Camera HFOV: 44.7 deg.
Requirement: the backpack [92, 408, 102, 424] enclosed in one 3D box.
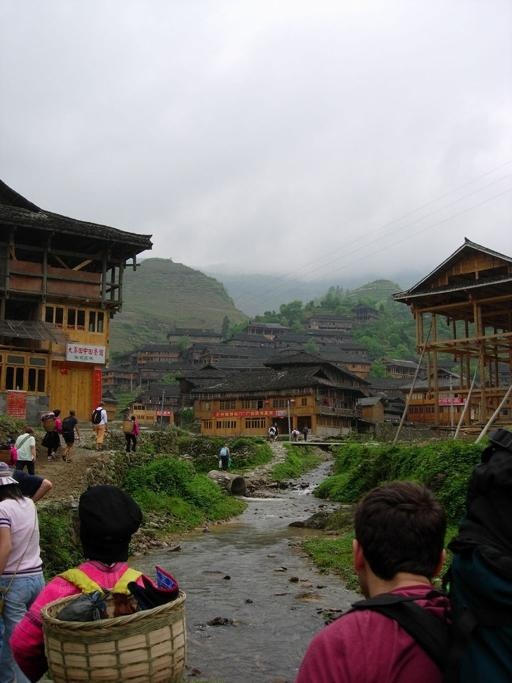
[{"bbox_3d":[-5.152,2.439,20.265,0.225,0.542,0.603,3,-9,-21],"label":"backpack"}]
